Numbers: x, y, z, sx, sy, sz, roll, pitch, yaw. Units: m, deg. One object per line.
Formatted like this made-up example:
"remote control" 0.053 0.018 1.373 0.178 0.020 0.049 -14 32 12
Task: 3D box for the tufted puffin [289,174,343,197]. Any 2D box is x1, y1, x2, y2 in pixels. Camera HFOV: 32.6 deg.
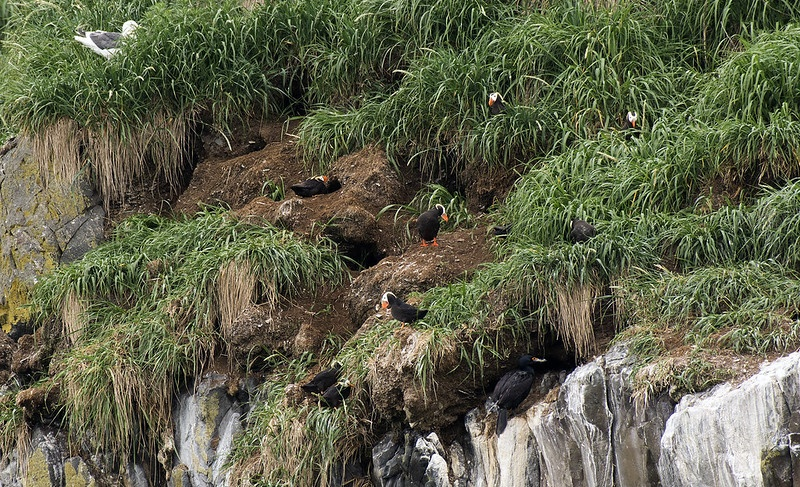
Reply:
"tufted puffin" -1.060 -0.821 17.868 0.484 0.171 0.341 -6 19 -30

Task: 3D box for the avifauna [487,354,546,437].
"avifauna" 1.316 1.645 15.568 0.351 0.669 1.024 12 23 40

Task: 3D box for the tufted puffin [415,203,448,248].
"tufted puffin" 0.439 -0.224 16.831 0.484 0.506 0.239 -8 -4 -35

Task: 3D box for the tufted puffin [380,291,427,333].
"tufted puffin" 0.098 0.765 16.058 0.567 0.372 0.282 0 7 5

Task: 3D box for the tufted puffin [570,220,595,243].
"tufted puffin" 2.180 -0.149 16.061 0.215 0.174 0.286 -5 -3 -6

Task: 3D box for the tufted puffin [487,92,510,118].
"tufted puffin" 1.279 -1.820 17.568 0.225 0.292 0.346 -13 10 4

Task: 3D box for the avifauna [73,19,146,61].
"avifauna" -4.099 -2.912 19.415 0.956 0.757 0.563 6 1 0
